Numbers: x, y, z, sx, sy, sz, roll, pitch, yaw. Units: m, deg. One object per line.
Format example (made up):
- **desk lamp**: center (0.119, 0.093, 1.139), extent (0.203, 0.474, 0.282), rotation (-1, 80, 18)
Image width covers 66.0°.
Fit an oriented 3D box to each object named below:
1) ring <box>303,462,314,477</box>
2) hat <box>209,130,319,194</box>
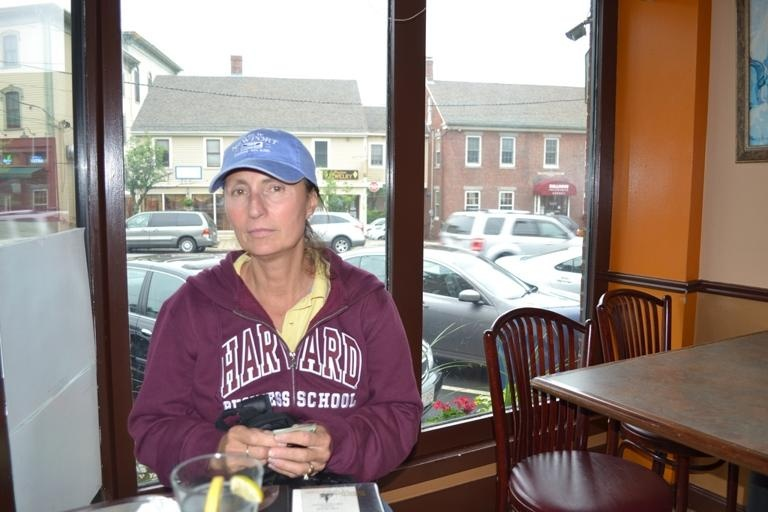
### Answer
- **ring**: center (-0.237, 0.678, 1.857), extent (0.016, 0.034, 0.042), rotation (10, 2, -22)
- **hat**: center (-0.400, -0.345, 2.046), extent (0.214, 0.159, 0.296), rotation (-1, -7, 15)
